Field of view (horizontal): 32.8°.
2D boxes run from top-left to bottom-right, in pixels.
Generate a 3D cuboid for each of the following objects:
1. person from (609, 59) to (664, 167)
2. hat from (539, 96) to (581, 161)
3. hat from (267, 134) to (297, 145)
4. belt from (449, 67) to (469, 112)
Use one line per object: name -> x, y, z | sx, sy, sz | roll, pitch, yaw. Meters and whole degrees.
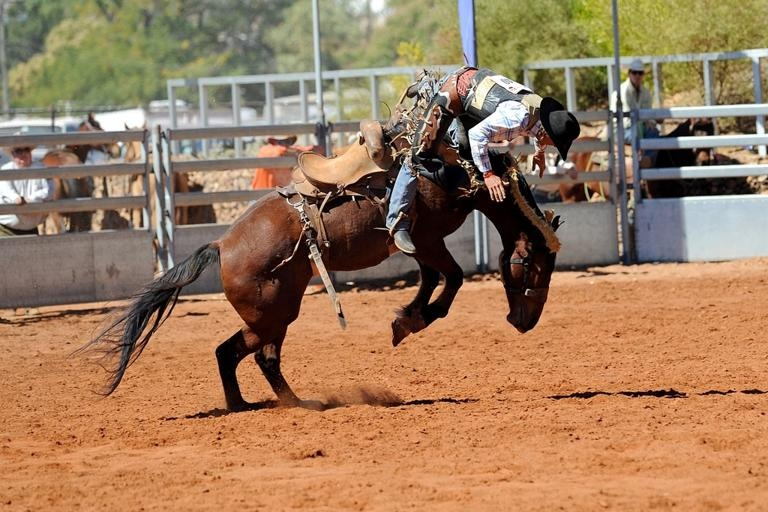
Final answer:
person -> 4.391, -2.504, 22.816 | 0.750, 1.995, 1.422 | -4, -6, 13
hat -> 2.299, -1.688, 17.151 | 0.288, 0.759, 0.633 | -16, 4, 16
hat -> -1.906, -2.207, 24.594 | 0.548, 0.127, 0.304 | -6, -19, -27
belt -> 1.019, -2.277, 17.292 | 0.206, 0.417, 0.295 | 1, -4, 2
